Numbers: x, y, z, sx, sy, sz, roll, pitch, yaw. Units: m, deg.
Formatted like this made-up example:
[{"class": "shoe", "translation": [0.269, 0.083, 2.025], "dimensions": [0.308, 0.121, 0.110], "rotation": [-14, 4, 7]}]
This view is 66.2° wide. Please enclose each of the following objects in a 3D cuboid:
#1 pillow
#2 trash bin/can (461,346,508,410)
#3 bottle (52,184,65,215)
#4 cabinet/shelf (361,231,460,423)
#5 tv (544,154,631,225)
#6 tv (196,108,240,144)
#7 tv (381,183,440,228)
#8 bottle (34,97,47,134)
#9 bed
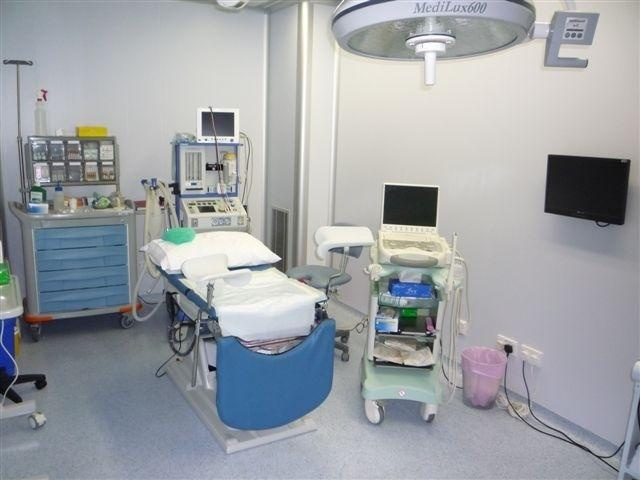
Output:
[{"class": "pillow", "translation": [-0.711, 0.059, 3.318], "dimensions": [0.521, 0.138, 0.432], "rotation": [-4, 18, -29]}, {"class": "trash bin/can", "translation": [1.111, 0.938, 3.516], "dimensions": [0.355, 0.407, 0.375], "rotation": [3, 7, 16]}, {"class": "bottle", "translation": [-2.268, -0.377, 4.248], "dimensions": [0.103, 0.219, 0.452], "rotation": [-10, 15, -27]}, {"class": "cabinet/shelf", "translation": [0.600, 0.553, 3.320], "dimensions": [0.651, 1.265, 0.556], "rotation": [-2, 14, 3]}, {"class": "tv", "translation": [1.589, -0.307, 2.876], "dimensions": [0.051, 0.297, 0.388], "rotation": [-8, 16, -27]}, {"class": "tv", "translation": [-0.943, -1.082, 4.545], "dimensions": [0.408, 0.345, 0.214], "rotation": [-3, 30, -14]}, {"class": "tv", "translation": [0.616, -0.233, 3.341], "dimensions": [0.294, 0.226, 0.020], "rotation": [4, 4, 7]}, {"class": "bottle", "translation": [-2.487, -1.093, 4.370], "dimensions": [0.120, 0.300, 0.134], "rotation": [-10, 16, -28]}, {"class": "bed", "translation": [-0.501, 0.583, 3.522], "dimensions": [0.914, 1.088, 1.413], "rotation": [-5, 13, -26]}]
